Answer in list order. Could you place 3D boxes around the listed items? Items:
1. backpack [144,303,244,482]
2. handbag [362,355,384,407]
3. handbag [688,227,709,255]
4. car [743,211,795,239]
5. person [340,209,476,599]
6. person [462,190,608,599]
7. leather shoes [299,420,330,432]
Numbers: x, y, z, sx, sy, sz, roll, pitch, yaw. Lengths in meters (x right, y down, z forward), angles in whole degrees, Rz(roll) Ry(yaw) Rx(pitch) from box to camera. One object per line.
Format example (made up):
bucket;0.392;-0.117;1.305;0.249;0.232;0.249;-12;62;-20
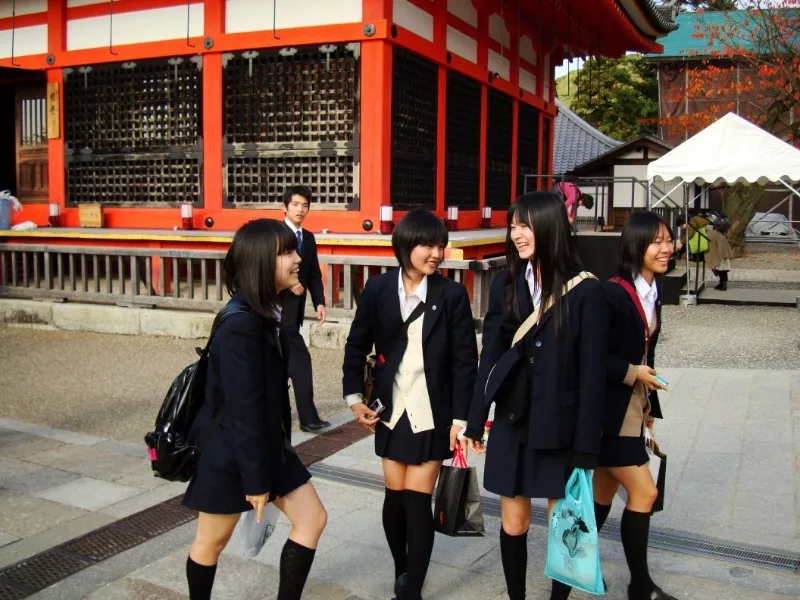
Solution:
backpack;-0.983;0.469;3.494;0.456;0.910;0.374;9;6;8
handbag;-0.151;0.434;4.114;0.101;0.151;0.223;25;37;-17
handbag;5.926;-1.182;14.010;0.521;0.517;0.282;-3;5;-22
car;13.363;-2.736;25.580;1.388;1.101;2.364;3;8;33
person;0.056;0.585;3.909;0.753;2.156;0.611;-1;5;1
person;0.696;0.483;3.636;0.694;2.075;0.359;1;5;18
leather shoes;-0.738;1.109;6.192;0.190;0.101;0.107;-9;5;-5
